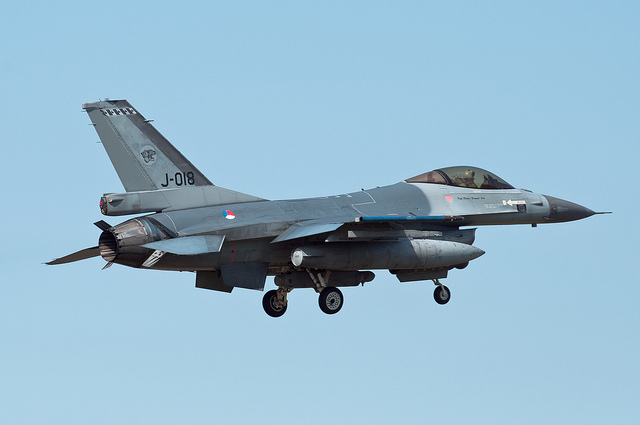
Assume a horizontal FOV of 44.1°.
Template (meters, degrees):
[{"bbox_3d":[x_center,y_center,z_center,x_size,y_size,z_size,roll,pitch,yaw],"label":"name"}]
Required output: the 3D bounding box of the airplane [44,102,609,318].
[{"bbox_3d":[0.713,-0.076,17.609,11.693,9.355,3.001,-3,-85,-30],"label":"airplane"}]
